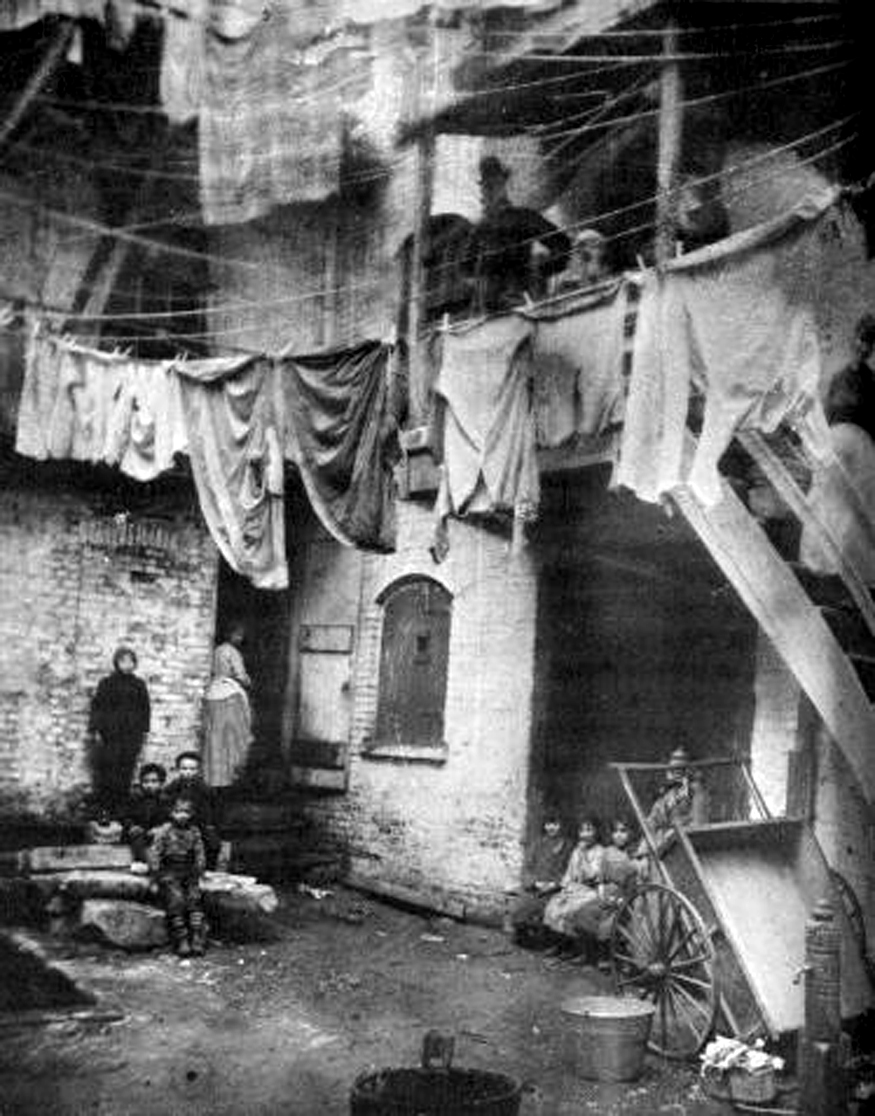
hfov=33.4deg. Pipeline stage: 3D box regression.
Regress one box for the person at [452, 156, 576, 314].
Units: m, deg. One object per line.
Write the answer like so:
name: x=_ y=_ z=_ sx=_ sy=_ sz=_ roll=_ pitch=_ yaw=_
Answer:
person: x=0.520 y=-1.982 z=9.439 sx=0.302 sy=0.955 sz=0.986 roll=3 pitch=-2 yaw=28

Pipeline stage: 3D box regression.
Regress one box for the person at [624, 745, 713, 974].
person: x=1.230 y=1.706 z=8.161 sx=0.366 sy=1.077 sz=0.630 roll=-4 pitch=1 yaw=33

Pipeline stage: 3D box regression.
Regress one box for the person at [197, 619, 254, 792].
person: x=-1.641 y=1.180 z=11.348 sx=0.379 sy=1.295 sz=0.642 roll=3 pitch=-1 yaw=-10

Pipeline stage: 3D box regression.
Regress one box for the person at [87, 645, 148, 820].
person: x=-2.217 y=1.178 z=10.156 sx=0.261 sy=1.164 sz=0.621 roll=3 pitch=-1 yaw=6

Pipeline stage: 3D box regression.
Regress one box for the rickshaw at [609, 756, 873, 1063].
rickshaw: x=1.674 y=1.854 z=8.157 sx=0.863 sy=1.616 sz=0.666 roll=-8 pitch=-21 yaw=-17

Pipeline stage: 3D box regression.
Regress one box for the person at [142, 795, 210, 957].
person: x=-1.638 y=1.986 z=9.194 sx=0.391 sy=0.969 sz=0.829 roll=3 pitch=-1 yaw=-12

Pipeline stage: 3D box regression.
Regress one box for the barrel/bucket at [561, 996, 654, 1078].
barrel/bucket: x=0.866 y=2.435 z=7.400 sx=0.459 sy=0.394 sz=0.455 roll=1 pitch=-5 yaw=0
